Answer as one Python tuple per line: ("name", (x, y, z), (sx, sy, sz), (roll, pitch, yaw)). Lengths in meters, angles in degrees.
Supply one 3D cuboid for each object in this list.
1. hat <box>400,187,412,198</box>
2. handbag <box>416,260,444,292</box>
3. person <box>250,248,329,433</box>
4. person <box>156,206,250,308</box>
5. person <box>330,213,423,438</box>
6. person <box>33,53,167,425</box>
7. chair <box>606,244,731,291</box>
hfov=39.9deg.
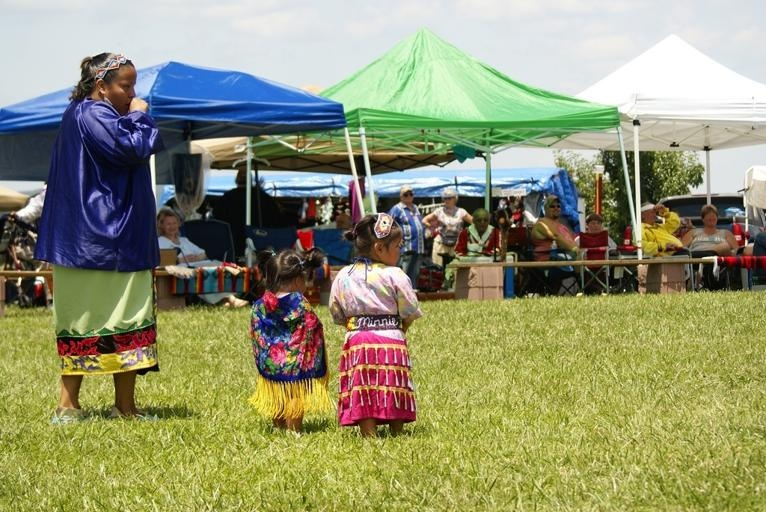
("hat", (0.324, -0.917, 14.886), (0.155, 0.139, 0.131), (-4, 8, -12))
("handbag", (0.741, 0.311, 15.790), (0.311, 0.422, 0.465), (3, 7, 21))
("person", (-0.682, 0.604, 7.494), (0.567, 1.270, 0.297), (-3, 8, -6))
("person", (-1.946, 0.085, 13.667), (1.543, 1.317, 0.992), (-2, -8, 39))
("person", (-0.051, 0.472, 7.338), (0.614, 1.485, 0.377), (-3, 8, -4))
("person", (-2.044, -0.144, 7.830), (0.990, 2.660, 0.967), (0, 0, 26))
("chair", (3.948, 0.221, 15.281), (1.886, 0.575, 1.249), (-3, 8, -5))
